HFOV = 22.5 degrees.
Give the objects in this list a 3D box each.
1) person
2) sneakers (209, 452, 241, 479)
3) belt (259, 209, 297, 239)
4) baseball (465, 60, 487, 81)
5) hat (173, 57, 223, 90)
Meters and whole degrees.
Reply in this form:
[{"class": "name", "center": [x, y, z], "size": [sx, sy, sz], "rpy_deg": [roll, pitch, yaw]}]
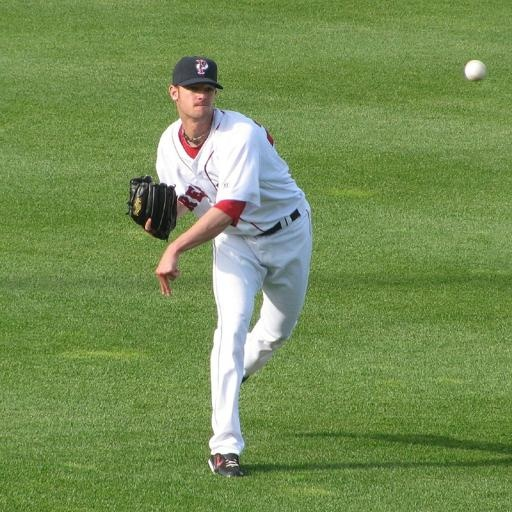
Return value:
[{"class": "person", "center": [-0.248, 0.044, 8.189], "size": [1.241, 2.476, 0.956], "rpy_deg": [9, 8, -7]}, {"class": "sneakers", "center": [-0.193, 1.293, 7.942], "size": [0.092, 0.109, 0.240], "rpy_deg": [20, -9, -22]}, {"class": "belt", "center": [0.145, -0.215, 8.229], "size": [0.190, 0.047, 0.148], "rpy_deg": [-32, 0, 15]}, {"class": "baseball", "center": [2.048, -1.714, 12.048], "size": [0.170, 0.185, 0.177], "rpy_deg": [-2, -18, 35]}, {"class": "hat", "center": [-0.373, -1.133, 8.012], "size": [0.283, 0.197, 0.158], "rpy_deg": [11, 8, -5]}]
